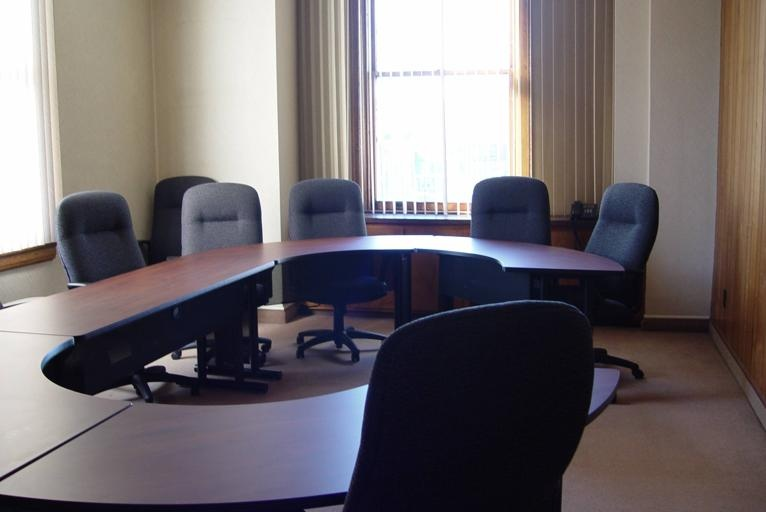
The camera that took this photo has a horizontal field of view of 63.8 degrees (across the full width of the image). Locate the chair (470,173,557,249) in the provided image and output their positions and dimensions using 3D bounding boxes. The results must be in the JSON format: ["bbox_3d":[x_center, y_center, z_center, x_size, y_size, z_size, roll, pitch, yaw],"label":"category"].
[{"bbox_3d":[1.154,-0.410,5.368,0.486,0.798,0.619,1,11,18],"label":"chair"}]
